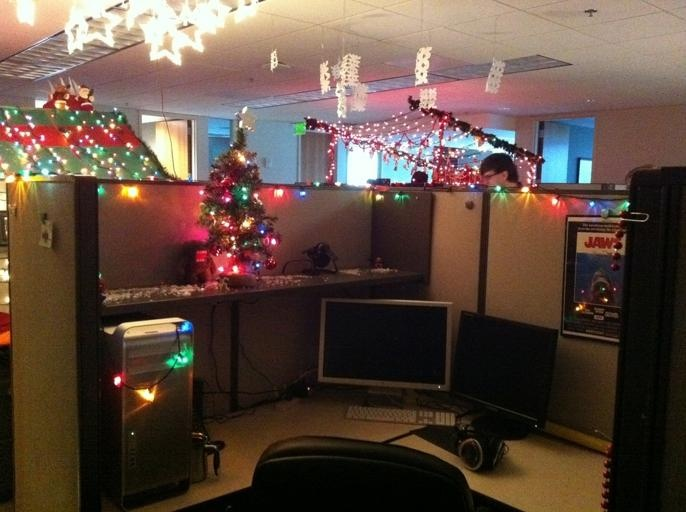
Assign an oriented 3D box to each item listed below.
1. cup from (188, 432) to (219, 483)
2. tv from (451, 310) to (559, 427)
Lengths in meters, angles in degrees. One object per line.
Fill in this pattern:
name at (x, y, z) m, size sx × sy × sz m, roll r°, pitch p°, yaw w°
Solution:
cup at (-0.578, 0.822, 2.353) m, size 0.173 × 0.173 × 0.144 m, roll 2°, pitch 0°, yaw -14°
tv at (0.797, 0.542, 2.739) m, size 0.509 × 0.471 × 0.057 m, roll 10°, pitch 0°, yaw 43°
